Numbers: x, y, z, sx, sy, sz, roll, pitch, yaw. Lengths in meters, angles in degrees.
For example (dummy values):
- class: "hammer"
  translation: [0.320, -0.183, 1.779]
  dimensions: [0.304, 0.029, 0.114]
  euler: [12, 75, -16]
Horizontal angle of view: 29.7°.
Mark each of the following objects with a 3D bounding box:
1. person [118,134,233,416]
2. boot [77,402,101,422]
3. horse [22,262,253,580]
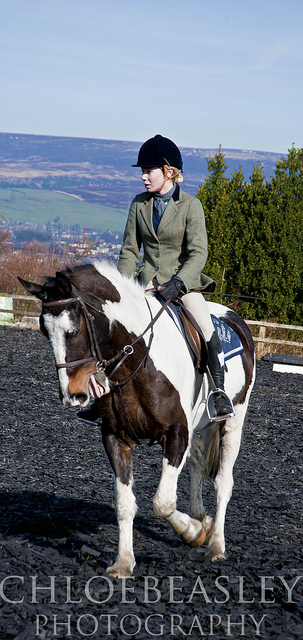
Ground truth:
- class: "person"
  translation: [0.146, -0.282, 3.593]
  dimensions: [0.730, 1.772, 0.723]
  euler: [8, 19, 31]
- class: "boot"
  translation: [-0.356, 0.542, 3.260]
  dimensions: [0.098, 0.057, 0.140]
  euler: [-7, 20, 26]
- class: "horse"
  translation: [0.122, 0.602, 3.418]
  dimensions: [0.558, 1.774, 2.098]
  euler: [0, -5, 34]
